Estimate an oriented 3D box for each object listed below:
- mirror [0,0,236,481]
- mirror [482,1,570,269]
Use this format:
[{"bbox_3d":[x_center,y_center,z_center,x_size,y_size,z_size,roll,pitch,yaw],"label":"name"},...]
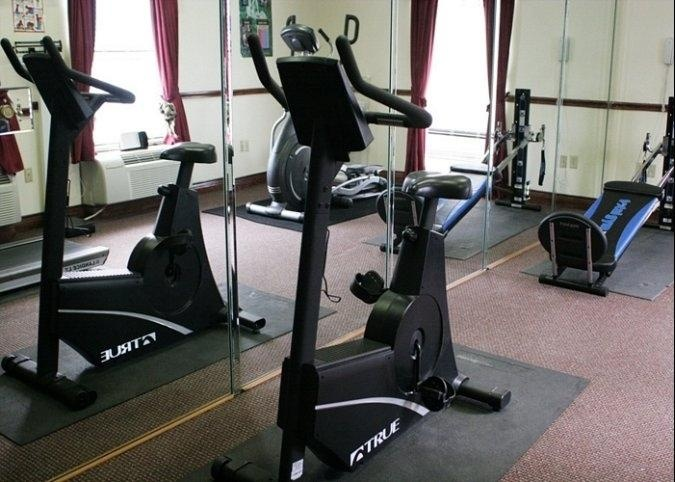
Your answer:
[{"bbox_3d":[-1.371,-0.172,3.067,0.629,1.918,1.257,15,26,37],"label":"mirror"},{"bbox_3d":[1.909,-1.185,5.370,0.600,2.448,2.050,11,24,29],"label":"mirror"}]
